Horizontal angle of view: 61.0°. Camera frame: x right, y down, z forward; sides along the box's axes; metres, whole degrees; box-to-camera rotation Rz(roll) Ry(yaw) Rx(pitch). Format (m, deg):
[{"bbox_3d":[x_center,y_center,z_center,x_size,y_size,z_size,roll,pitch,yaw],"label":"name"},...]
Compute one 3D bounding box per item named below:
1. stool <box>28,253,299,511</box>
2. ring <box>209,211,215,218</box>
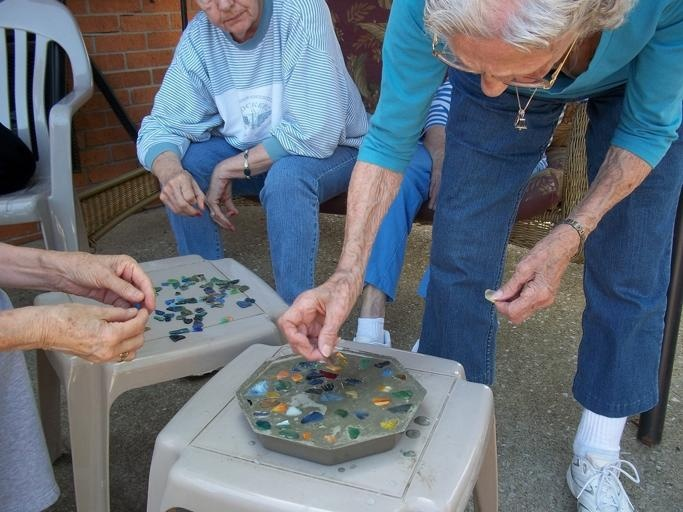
[{"bbox_3d":[-0.448,0.347,1.724,0.636,0.538,0.627,-18,44,-24],"label":"stool"},{"bbox_3d":[-0.477,-0.151,2.126,0.021,0.021,0.021,-1,11,0],"label":"ring"}]
